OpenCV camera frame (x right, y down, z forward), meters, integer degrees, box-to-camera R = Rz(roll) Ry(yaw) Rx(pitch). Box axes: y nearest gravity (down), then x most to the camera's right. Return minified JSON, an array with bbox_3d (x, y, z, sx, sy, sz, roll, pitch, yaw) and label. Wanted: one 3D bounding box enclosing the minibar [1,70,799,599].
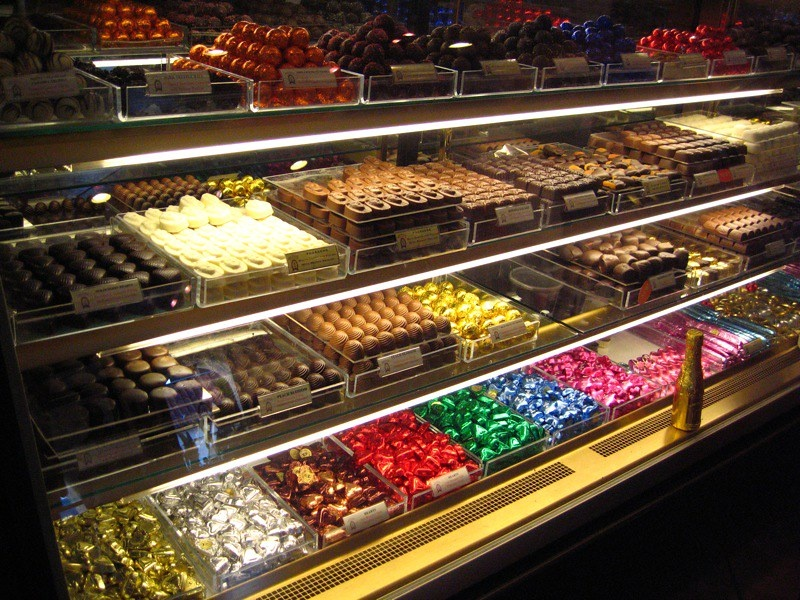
[{"bbox_3d":[0.012,0.179,2.192,2.619,0.949,0.445,-18,32,-37],"label":"minibar"}]
